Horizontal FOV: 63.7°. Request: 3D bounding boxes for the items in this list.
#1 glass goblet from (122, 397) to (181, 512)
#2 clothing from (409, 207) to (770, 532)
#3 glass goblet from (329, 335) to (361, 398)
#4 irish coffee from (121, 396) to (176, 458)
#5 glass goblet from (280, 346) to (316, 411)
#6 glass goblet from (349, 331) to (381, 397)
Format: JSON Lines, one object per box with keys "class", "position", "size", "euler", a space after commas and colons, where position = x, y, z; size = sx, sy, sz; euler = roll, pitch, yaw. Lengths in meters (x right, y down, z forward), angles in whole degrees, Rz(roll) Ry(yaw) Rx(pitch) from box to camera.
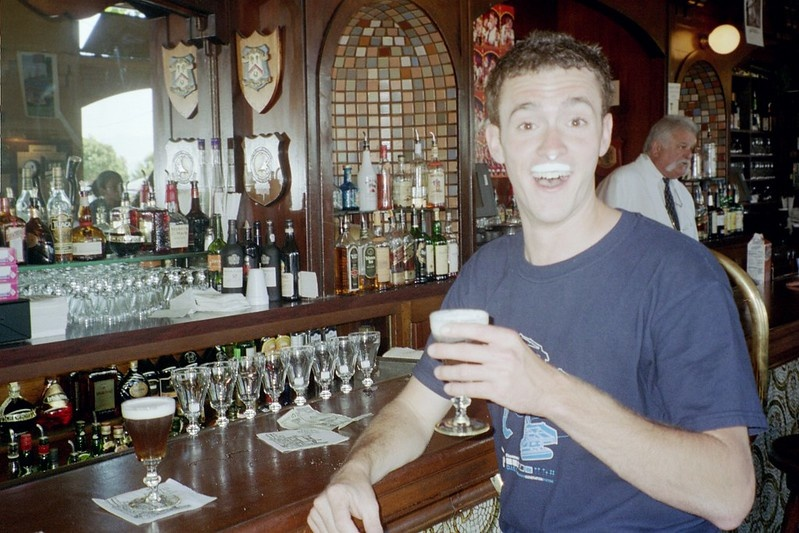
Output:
{"class": "glass goblet", "position": [-0.777, 0.580, 2.026], "size": [0.193, 0.346, 0.186], "euler": [-4, 5, -40]}
{"class": "clothing", "position": [0.574, 0.341, 1.910], "size": [0.907, 0.976, 0.400], "euler": [2, 10, 29]}
{"class": "glass goblet", "position": [-0.251, 0.444, 2.968], "size": [0.149, 0.252, 0.161], "euler": [-6, -5, 6]}
{"class": "irish coffee", "position": [-0.775, 0.527, 2.011], "size": [0.170, 0.198, 0.161], "euler": [3, -11, -40]}
{"class": "glass goblet", "position": [-0.444, 0.489, 2.833], "size": [0.153, 0.249, 0.150], "euler": [3, -39, -41]}
{"class": "glass goblet", "position": [-0.155, 0.428, 3.039], "size": [0.156, 0.268, 0.169], "euler": [0, 5, 8]}
